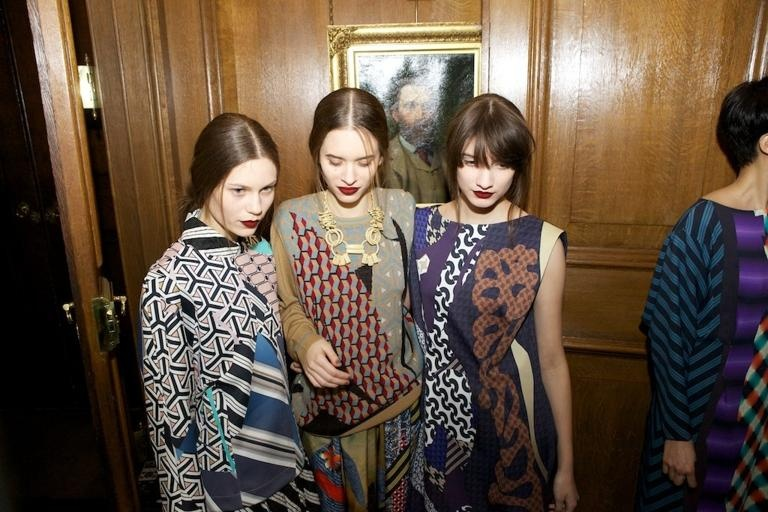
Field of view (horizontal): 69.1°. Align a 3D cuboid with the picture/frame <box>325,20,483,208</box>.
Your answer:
[{"bbox_3d":[0.074,-0.567,2.097,0.709,0.875,0.067,-1,11,0],"label":"picture/frame"}]
